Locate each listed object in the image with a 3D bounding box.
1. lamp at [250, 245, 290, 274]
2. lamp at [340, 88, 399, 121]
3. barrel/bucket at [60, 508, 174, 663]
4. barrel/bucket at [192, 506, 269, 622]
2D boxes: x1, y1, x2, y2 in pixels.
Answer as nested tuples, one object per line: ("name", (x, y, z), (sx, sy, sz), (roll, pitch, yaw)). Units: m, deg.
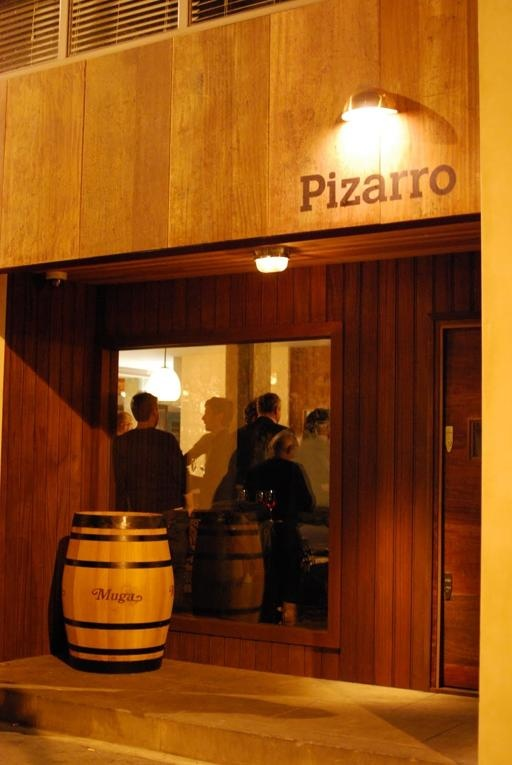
("lamp", (0.072, -0.564, 3.925), (0.185, 0.098, 0.207), (2, -5, -27))
("lamp", (0.417, -1.076, 3.333), (0.253, 0.090, 0.147), (-3, -5, 33))
("barrel/bucket", (-0.649, 1.074, 4.689), (0.580, 1.010, 0.638), (-1, -4, 7))
("barrel/bucket", (-0.155, 0.996, 4.897), (0.443, 0.860, 0.518), (-1, -5, 15))
